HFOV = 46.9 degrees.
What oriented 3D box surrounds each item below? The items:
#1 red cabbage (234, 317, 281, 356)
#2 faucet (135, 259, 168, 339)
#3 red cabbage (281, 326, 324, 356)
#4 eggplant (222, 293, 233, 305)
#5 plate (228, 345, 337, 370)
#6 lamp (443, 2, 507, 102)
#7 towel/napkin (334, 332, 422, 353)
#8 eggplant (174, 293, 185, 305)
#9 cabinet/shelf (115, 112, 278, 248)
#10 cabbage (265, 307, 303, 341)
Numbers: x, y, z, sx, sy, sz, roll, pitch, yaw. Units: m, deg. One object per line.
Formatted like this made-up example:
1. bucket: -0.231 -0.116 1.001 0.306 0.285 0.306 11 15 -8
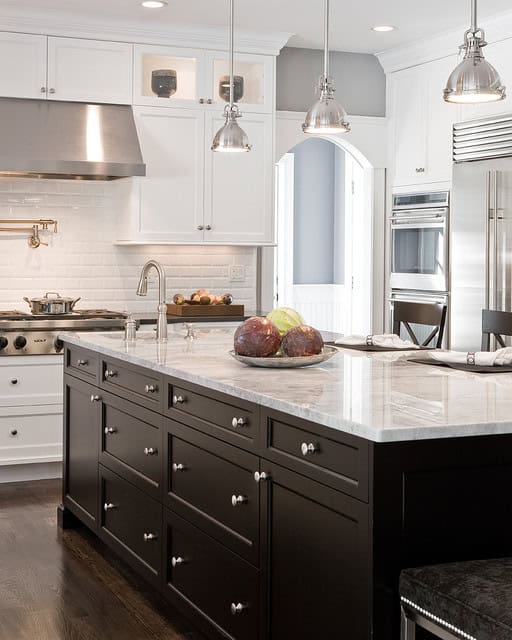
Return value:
1. red cabbage: 0.002 0.061 1.977 0.113 0.127 0.121 -3 10 -33
2. faucet: -0.684 -0.127 3.781 0.221 0.559 0.223 0 10 -27
3. red cabbage: 0.155 0.069 1.927 0.123 0.092 0.093 3 -1 6
4. eggplant: -0.229 -0.159 4.679 0.070 0.069 0.089 3 5 1
5. plate: 0.099 0.132 1.972 0.371 0.060 0.183 1 -1 -10
6. lamp: 0.814 -1.035 2.206 0.207 0.461 0.260 0 -1 20
7. towel/napkin: 0.512 0.099 2.547 0.284 0.072 0.356 1 -1 -22
8. eggplant: -0.602 -0.157 4.606 0.084 0.079 0.141 1 -1 -15
9. cabinet/shelf: -0.505 -1.080 4.481 1.157 0.943 0.472 0 3 -21
10. cabbage: 0.097 0.010 2.087 0.103 0.116 0.100 -4 46 -9
